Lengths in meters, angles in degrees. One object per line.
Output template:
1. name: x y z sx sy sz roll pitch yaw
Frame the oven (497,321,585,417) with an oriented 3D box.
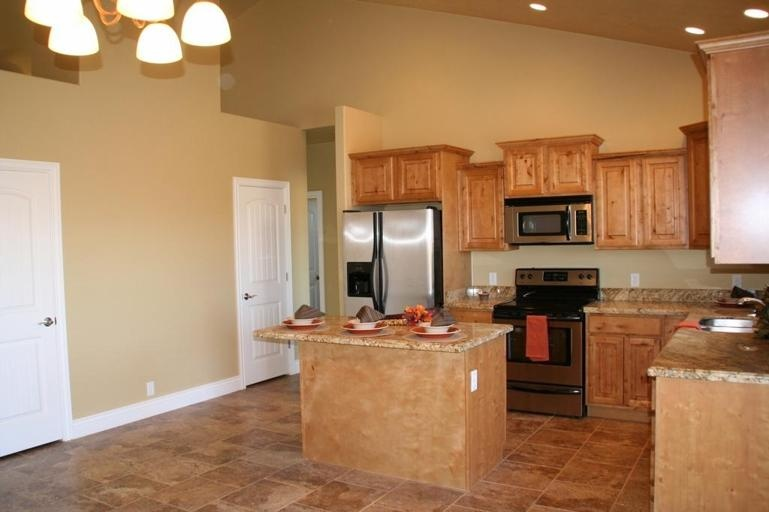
1. oven: 1.837 1.234 6.541 1.127 1.344 1.019 -2 -5 23

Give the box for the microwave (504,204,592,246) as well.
1. microwave: 2.002 -0.358 6.582 1.017 0.451 0.667 0 4 29

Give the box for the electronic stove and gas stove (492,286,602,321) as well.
1. electronic stove and gas stove: 1.836 0.550 6.423 0.977 0.405 0.731 1 8 35
